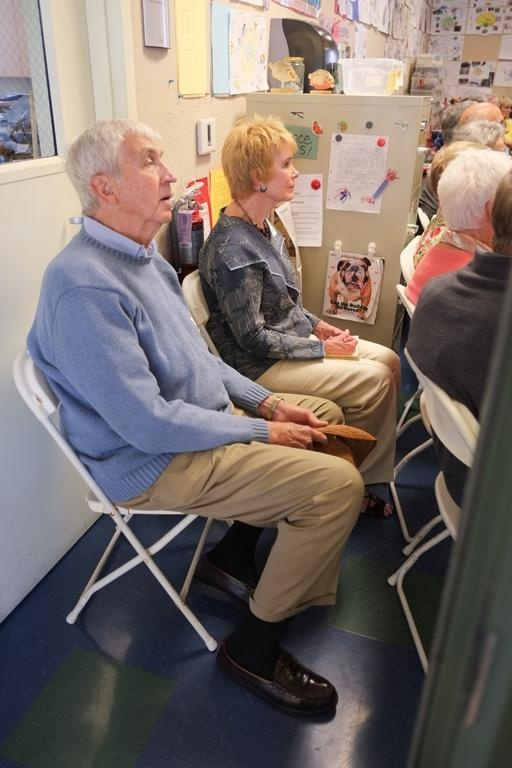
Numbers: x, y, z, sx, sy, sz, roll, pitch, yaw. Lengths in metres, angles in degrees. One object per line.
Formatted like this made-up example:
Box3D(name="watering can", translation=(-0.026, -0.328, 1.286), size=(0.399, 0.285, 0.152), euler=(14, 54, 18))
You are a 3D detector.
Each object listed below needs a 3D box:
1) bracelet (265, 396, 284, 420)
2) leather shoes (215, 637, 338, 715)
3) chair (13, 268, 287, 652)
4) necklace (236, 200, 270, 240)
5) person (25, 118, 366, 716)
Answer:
Box3D(name="bracelet", translation=(0.057, 0.073, 1.650), size=(0.022, 0.065, 0.045), euler=(6, -5, 28))
Box3D(name="leather shoes", translation=(0.054, 0.732, 1.404), size=(0.288, 0.113, 0.120), euler=(17, 30, 22))
Box3D(name="chair", translation=(-0.185, 0.110, 1.852), size=(0.801, 1.232, 0.687), euler=(2, 24, 4))
Box3D(name="necklace", translation=(-0.011, -0.599, 1.970), size=(0.028, 0.118, 0.082), euler=(-18, 21, 41))
Box3D(name="person", translation=(-0.109, 0.047, 1.391), size=(0.811, 1.266, 0.583), euler=(11, 28, 17))
